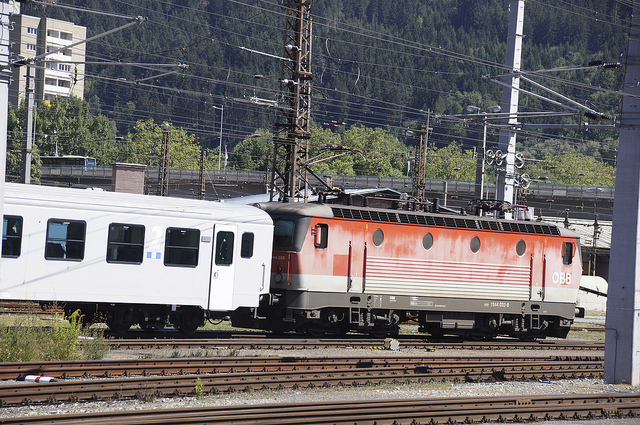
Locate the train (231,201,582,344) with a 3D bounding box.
[{"bbox_3d":[3.886,3.354,56.839,21.746,7.597,6.817,2,-4,-24],"label":"train"}]

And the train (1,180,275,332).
[{"bbox_3d":[-8.970,2.419,50.098,12.177,6.807,1.225,2,2,-15],"label":"train"}]
